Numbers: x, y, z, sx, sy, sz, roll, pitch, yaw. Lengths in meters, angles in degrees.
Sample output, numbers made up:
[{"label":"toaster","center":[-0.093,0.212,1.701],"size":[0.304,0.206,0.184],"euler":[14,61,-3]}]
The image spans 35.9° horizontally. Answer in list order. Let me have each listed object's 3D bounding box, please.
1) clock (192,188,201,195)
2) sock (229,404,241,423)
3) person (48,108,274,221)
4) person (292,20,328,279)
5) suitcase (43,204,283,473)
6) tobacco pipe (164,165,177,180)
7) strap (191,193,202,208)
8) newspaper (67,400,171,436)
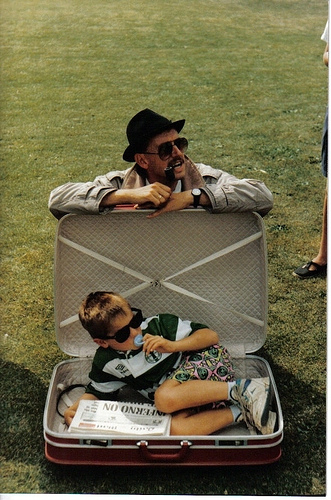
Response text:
[{"label":"clock","center":[0.150,-0.284,2.485],"size":[0.044,0.022,0.051],"euler":[-5,20,-9]},{"label":"sock","center":[0.322,0.740,2.323],"size":[0.058,0.067,0.053],"euler":[2,24,12]},{"label":"person","center":[-0.004,-0.634,3.708],"size":[1.530,0.685,0.803],"euler":[-2,8,-4]},{"label":"person","center":[1.004,-0.531,3.360],"size":[0.225,1.488,0.629],"euler":[6,23,18]},{"label":"suitcase","center":[-0.002,0.484,2.737],"size":[1.500,1.368,1.231],"euler":[-1,10,1]},{"label":"tobacco pipe","center":[0.024,-0.405,2.680],"size":[0.059,0.094,0.052],"euler":[-5,54,0]},{"label":"strap","center":[0.149,-0.239,2.484],"size":[0.037,0.070,0.016],"euler":[-3,22,-3]},{"label":"newspaper","center":[-0.196,0.768,2.331],"size":[0.443,0.047,0.240],"euler":[2,20,9]}]
